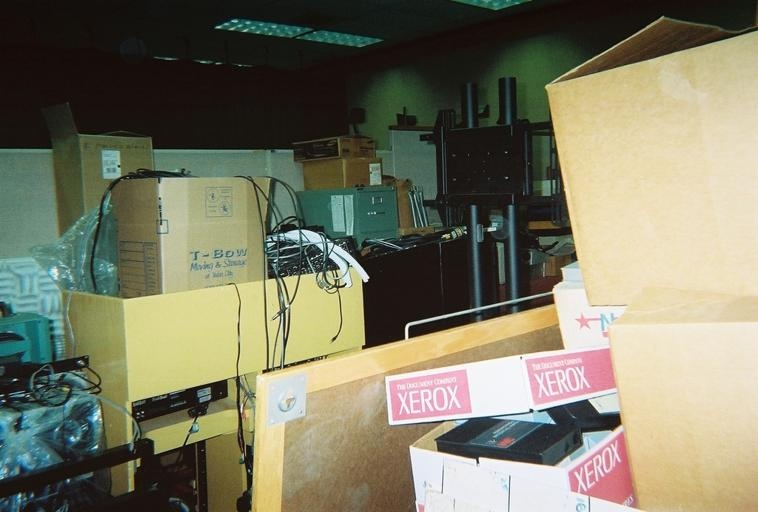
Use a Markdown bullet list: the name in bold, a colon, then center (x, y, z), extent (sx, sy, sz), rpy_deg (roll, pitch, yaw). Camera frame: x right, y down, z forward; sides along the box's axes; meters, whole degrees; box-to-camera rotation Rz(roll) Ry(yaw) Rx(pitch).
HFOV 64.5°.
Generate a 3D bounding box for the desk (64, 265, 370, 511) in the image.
- **desk**: center (-0.592, 0.562, 2.480), extent (0.997, 0.956, 0.477), rpy_deg (-9, 7, -36)

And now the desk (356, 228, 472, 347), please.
- **desk**: center (0.247, 0.111, 4.044), extent (0.745, 0.418, 0.420), rpy_deg (-9, 17, 15)
